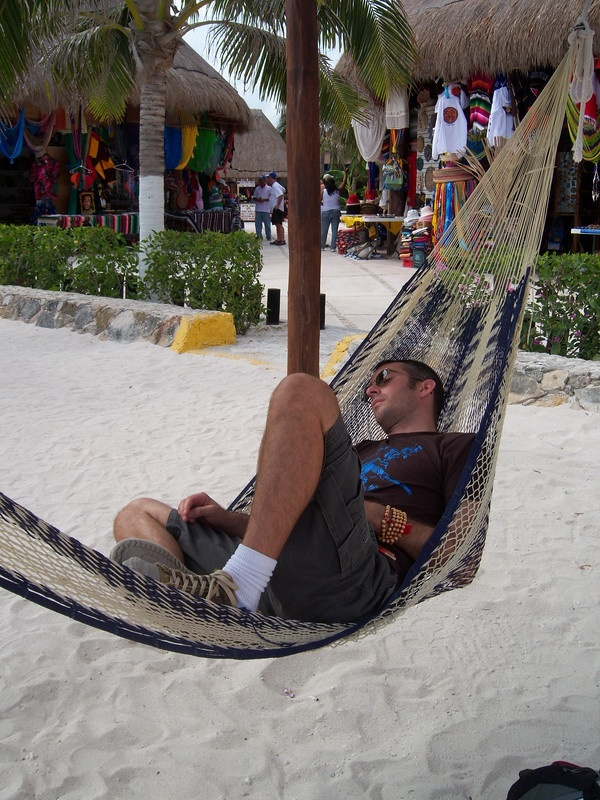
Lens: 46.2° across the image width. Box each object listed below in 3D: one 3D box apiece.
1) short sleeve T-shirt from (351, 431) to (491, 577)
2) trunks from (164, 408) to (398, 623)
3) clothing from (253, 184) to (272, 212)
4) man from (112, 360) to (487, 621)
[{"bbox_3d":[0.283,0.244,1.638,0.339,0.347,0.183,-4,-44,50],"label":"short sleeve T-shirt"},{"bbox_3d":[0.020,0.211,1.778,0.382,0.578,0.480,10,-24,3],"label":"trunks"},{"bbox_3d":[-0.808,-4.484,15.704,0.489,0.610,0.431,4,29,6],"label":"clothing"},{"bbox_3d":[-0.001,0.246,1.931,0.688,0.733,0.375,25,-35,-18],"label":"man"}]
